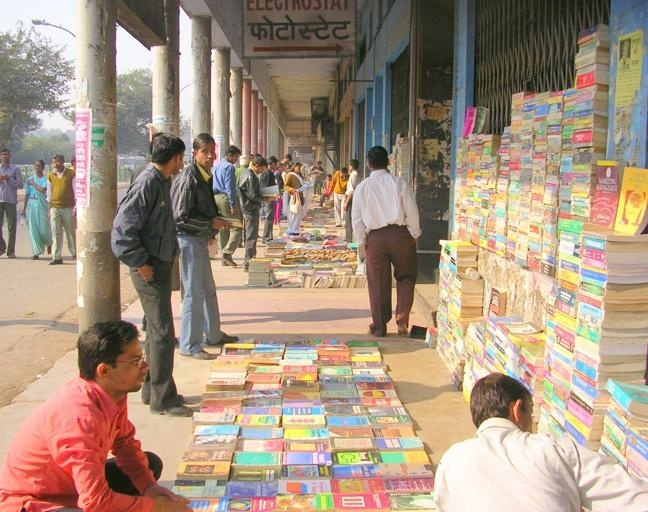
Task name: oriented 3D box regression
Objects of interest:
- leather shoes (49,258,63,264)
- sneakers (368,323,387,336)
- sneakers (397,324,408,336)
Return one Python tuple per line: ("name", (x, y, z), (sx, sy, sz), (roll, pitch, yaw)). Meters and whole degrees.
("leather shoes", (-5.909, 0.104, 11.662), (0.339, 0.163, 0.119), (3, 5, -10))
("sneakers", (0.659, 0.922, 6.644), (0.230, 0.174, 0.107), (-3, -1, 41))
("sneakers", (0.984, 0.915, 6.633), (0.160, 0.131, 0.234), (1, -9, 8))
